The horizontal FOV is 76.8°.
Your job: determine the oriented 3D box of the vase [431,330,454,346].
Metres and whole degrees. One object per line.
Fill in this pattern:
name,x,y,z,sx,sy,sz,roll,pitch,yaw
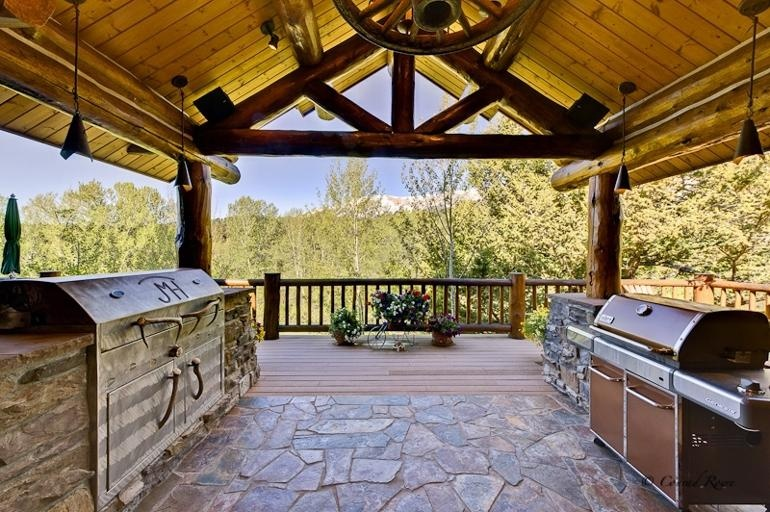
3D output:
vase,0.926,1.356,7.992,0.248,0.195,0.260,0,-7,0

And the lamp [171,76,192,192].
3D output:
lamp,-2.640,-1.595,6.305,0.234,1.421,0.619,0,-2,-23

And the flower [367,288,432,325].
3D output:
flower,0.257,0.893,8.189,0.967,0.671,0.520,-1,-2,-2

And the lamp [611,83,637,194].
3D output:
lamp,3.013,-1.490,6.050,0.268,1.430,0.785,-2,-2,28

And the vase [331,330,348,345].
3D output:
vase,-0.753,1.354,8.034,0.238,0.180,0.249,-5,-14,22

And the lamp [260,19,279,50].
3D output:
lamp,-1.459,-2.830,6.128,0.235,0.267,0.402,6,25,-14

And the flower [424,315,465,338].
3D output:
flower,0.964,1.144,7.928,0.392,0.243,0.419,4,-6,-5

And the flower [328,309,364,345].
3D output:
flower,-0.653,1.146,8.225,0.551,0.576,0.571,-2,-1,-16
